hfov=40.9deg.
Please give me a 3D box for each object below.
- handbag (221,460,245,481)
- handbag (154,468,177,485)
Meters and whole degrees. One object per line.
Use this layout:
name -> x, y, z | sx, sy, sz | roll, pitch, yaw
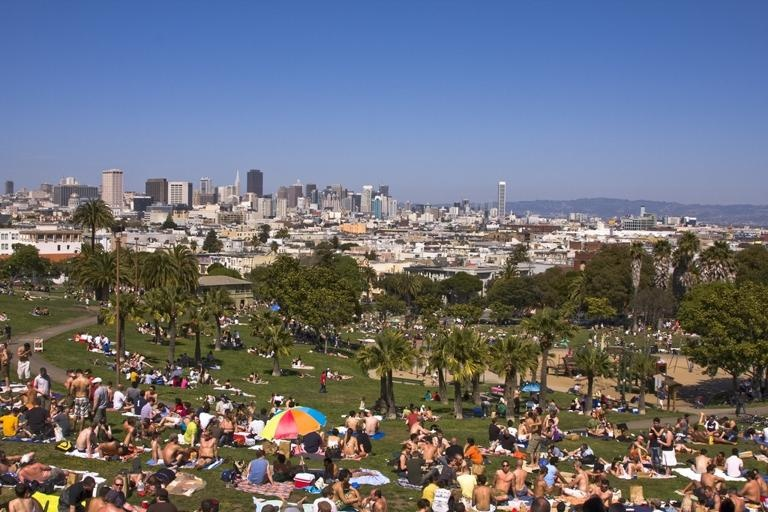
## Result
handbag -> -10.017, 14.261, 68.247 | 1.058, 0.525, 1.421 | -4, 9, 7
handbag -> -14.432, 14.348, 67.004 | 1.205, 0.847, 1.682 | 4, 4, 16
